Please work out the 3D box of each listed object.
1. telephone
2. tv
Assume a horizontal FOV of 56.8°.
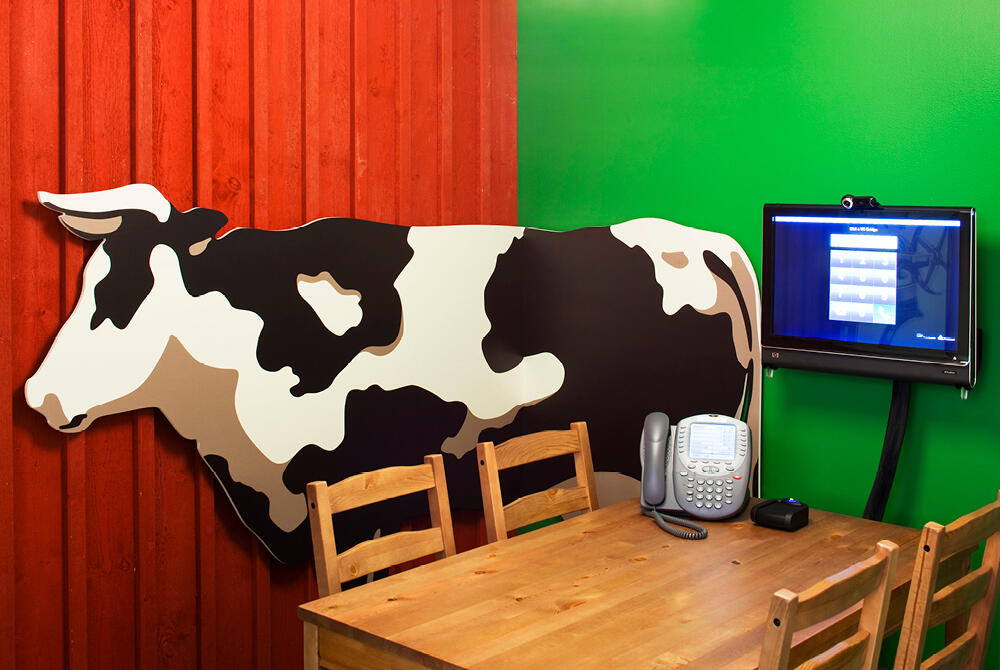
[{"bbox_3d":[0.666,0.443,3.289,0.376,0.141,0.400,0,41,15],"label":"telephone"},{"bbox_3d":[1.339,-0.152,3.394,0.662,0.576,0.177,3,1,36],"label":"tv"}]
